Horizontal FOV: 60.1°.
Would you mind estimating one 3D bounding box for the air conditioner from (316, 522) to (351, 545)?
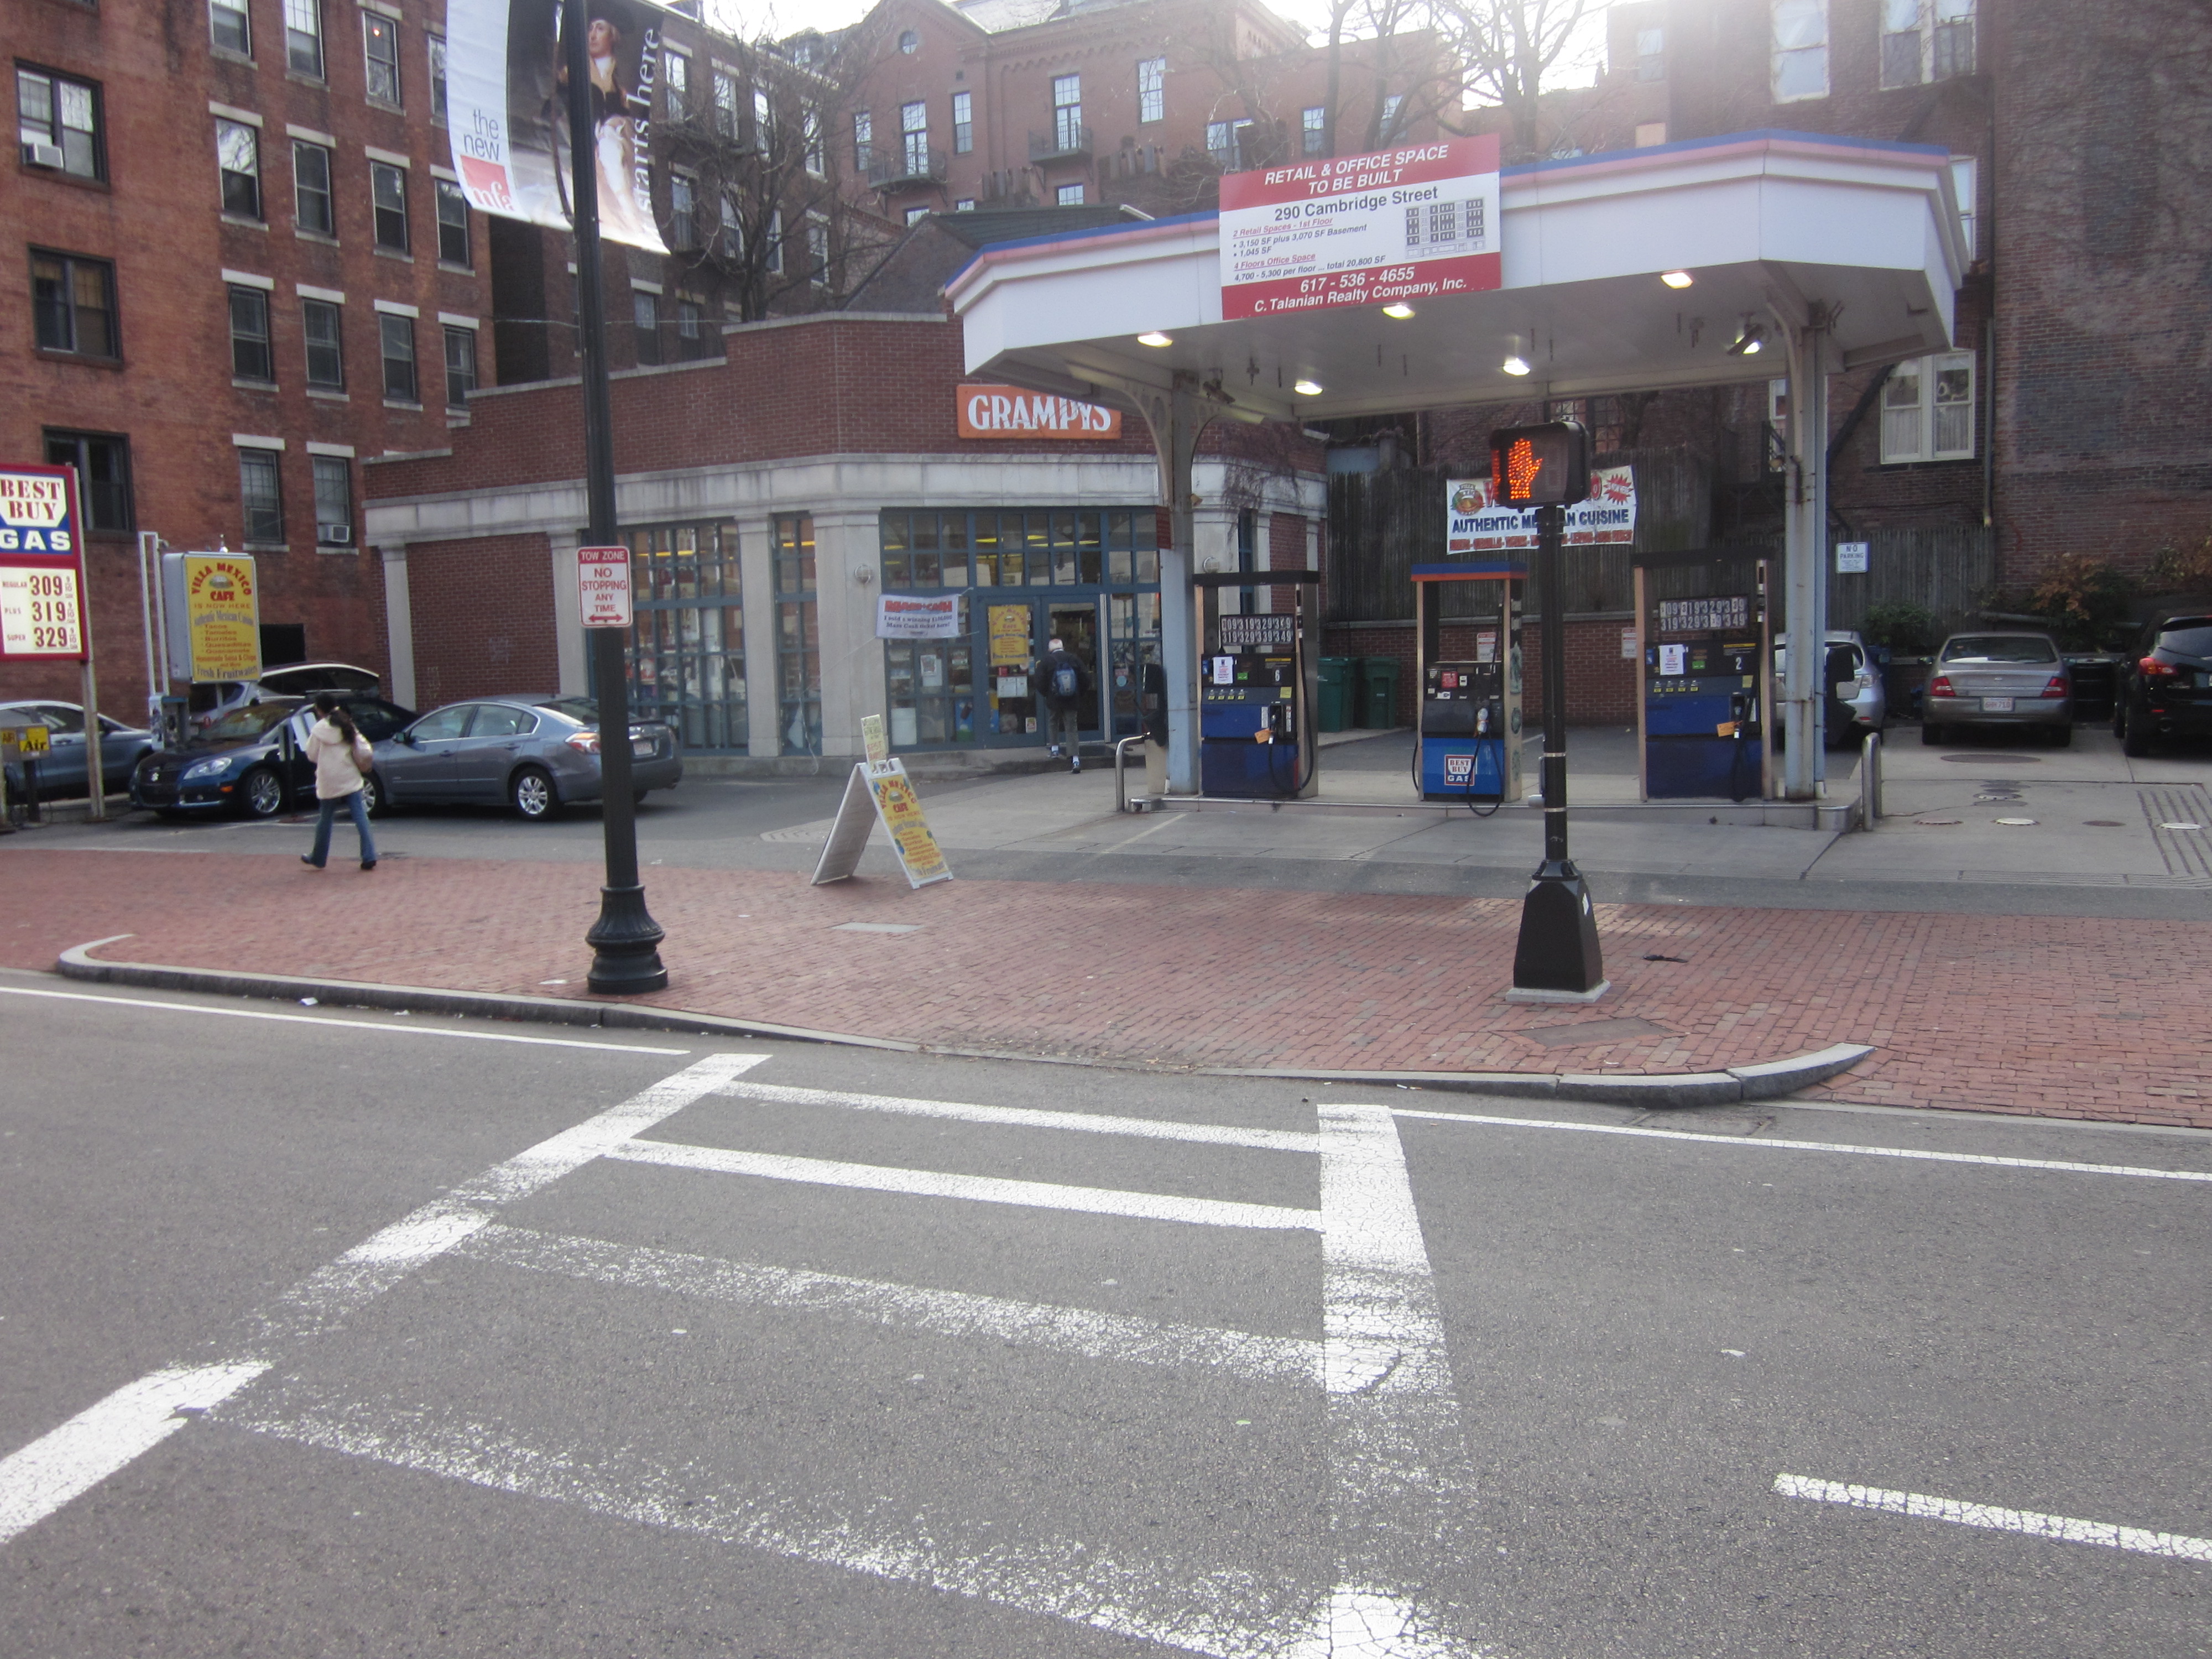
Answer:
[{"bbox_3d":[-16.661,-6.373,41.262,0.213,0.526,1.004,-1,7,18],"label":"air conditioner"}]

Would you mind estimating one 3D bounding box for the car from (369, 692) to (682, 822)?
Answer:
[{"bbox_3d":[-7.805,-0.948,25.262,3.895,1.571,1.409,-1,6,24],"label":"car"}]

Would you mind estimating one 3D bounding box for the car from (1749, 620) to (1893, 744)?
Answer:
[{"bbox_3d":[10.012,-1.802,26.774,1.612,1.687,3.676,0,14,29],"label":"car"}]

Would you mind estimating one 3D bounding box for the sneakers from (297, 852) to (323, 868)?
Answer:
[{"bbox_3d":[-8.387,0.329,20.146,0.245,0.197,0.091,13,6,17],"label":"sneakers"}]

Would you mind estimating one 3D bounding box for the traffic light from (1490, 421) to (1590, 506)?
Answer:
[{"bbox_3d":[2.835,-2.385,12.457,0.628,0.671,0.333,5,7,43],"label":"traffic light"}]

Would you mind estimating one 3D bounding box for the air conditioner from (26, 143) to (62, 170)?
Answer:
[{"bbox_3d":[-19.431,-12.377,34.932,0.214,0.535,0.749,-1,6,15],"label":"air conditioner"}]

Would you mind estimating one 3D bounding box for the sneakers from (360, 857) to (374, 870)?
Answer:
[{"bbox_3d":[-7.636,0.356,19.771,0.131,0.117,0.210,-7,7,-29],"label":"sneakers"}]

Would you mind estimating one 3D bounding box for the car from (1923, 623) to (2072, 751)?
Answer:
[{"bbox_3d":[12.514,-1.949,26.829,1.810,1.620,1.805,0,7,25],"label":"car"}]
